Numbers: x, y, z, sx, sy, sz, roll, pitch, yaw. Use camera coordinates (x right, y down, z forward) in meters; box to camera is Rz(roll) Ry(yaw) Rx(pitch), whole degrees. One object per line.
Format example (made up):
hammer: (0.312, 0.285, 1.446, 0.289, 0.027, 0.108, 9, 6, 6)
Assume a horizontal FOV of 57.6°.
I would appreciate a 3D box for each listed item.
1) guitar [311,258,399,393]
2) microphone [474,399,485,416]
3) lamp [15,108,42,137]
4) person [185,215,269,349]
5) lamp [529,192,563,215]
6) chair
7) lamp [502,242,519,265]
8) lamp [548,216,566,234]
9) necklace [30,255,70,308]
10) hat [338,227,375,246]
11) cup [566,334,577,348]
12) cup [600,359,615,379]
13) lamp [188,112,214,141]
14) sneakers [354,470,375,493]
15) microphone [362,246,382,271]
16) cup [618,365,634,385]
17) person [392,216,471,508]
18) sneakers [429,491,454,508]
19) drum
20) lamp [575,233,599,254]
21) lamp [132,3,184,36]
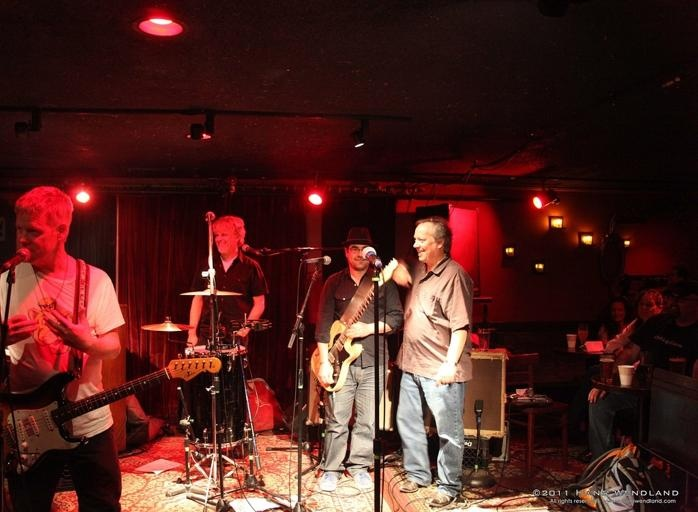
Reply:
guitar: (0.078, 0.644, 6.329, 0.236, 1.521, 0.605, -23, -60, 43)
microphone: (1.203, 1.392, 5.849, 0.108, 0.049, 0.201, 1, -29, 4)
lamp: (-2.951, -1.230, 5.858, 0.216, 0.259, 0.326, 3, -7, -27)
person: (-1.440, 0.722, 7.274, 0.935, 2.383, 0.774, 4, 21, -4)
lamp: (2.743, -0.793, 8.919, 0.433, 0.249, 0.439, -8, 5, -1)
chair: (2.137, 1.710, 7.230, 0.673, 1.212, 1.844, -1, -6, 15)
lamp: (2.382, -0.016, 9.272, 0.284, 0.285, 0.119, 13, 0, -12)
lamp: (3.091, -0.478, 9.524, 0.290, 0.284, 0.206, 0, -5, 3)
necklace: (-1.956, 0.168, 4.194, 0.242, 0.331, 0.113, -6, 5, 5)
hat: (0.081, -0.209, 6.940, 0.284, 0.144, 0.378, 1, -13, -2)
cup: (2.822, 1.096, 8.031, 0.113, 0.193, 0.295, -1, -6, 16)
cup: (2.468, 1.073, 6.061, 0.107, 0.212, 0.294, -2, -7, 24)
lamp: (-1.373, -1.211, 6.054, 0.276, 0.269, 0.246, 3, 0, -28)
sneakers: (0.133, 2.134, 6.047, 0.197, 0.177, 0.210, 0, -6, -1)
microphone: (0.178, 0.014, 4.785, 0.086, 0.090, 0.272, 13, 9, -13)
cup: (2.496, 1.097, 5.807, 0.165, 0.181, 0.170, 3, -13, 1)
person: (0.765, 0.952, 5.754, 0.452, 2.586, 0.820, 4, -6, -33)
sneakers: (0.824, 2.153, 5.613, 0.260, 0.105, 0.094, 18, -27, -27)
drum: (-1.266, 1.402, 6.438, 0.787, 0.874, 0.808, -1, -1, 11)
lamp: (3.592, -0.161, 9.710, 0.398, 0.385, 0.285, 1, -3, -5)
lamp: (-1.376, -1.695, 4.656, 0.329, 0.079, 0.279, -6, -9, 43)
